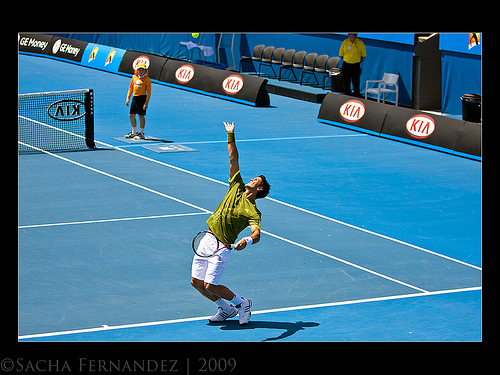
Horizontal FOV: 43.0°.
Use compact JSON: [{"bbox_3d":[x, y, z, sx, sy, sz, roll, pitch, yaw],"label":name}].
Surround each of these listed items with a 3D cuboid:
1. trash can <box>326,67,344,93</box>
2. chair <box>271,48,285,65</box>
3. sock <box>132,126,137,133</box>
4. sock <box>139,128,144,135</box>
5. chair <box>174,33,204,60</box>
[{"bbox_3d":[3.735,-4.554,27.257,1.102,1.105,1.248,0,16,7],"label":"trash can"},{"bbox_3d":[1.304,-6.188,29.721,0.705,0.689,0.886,9,14,31],"label":"chair"},{"bbox_3d":[-3.626,-1.847,19.864,0.168,0.212,0.668,10,9,-11],"label":"sock"},{"bbox_3d":[-3.384,-1.768,19.721,0.102,0.175,0.176,10,11,-15],"label":"sock"},{"bbox_3d":[-2.931,-7.455,33.140,0.967,1.412,0.940,2,5,8],"label":"chair"}]
